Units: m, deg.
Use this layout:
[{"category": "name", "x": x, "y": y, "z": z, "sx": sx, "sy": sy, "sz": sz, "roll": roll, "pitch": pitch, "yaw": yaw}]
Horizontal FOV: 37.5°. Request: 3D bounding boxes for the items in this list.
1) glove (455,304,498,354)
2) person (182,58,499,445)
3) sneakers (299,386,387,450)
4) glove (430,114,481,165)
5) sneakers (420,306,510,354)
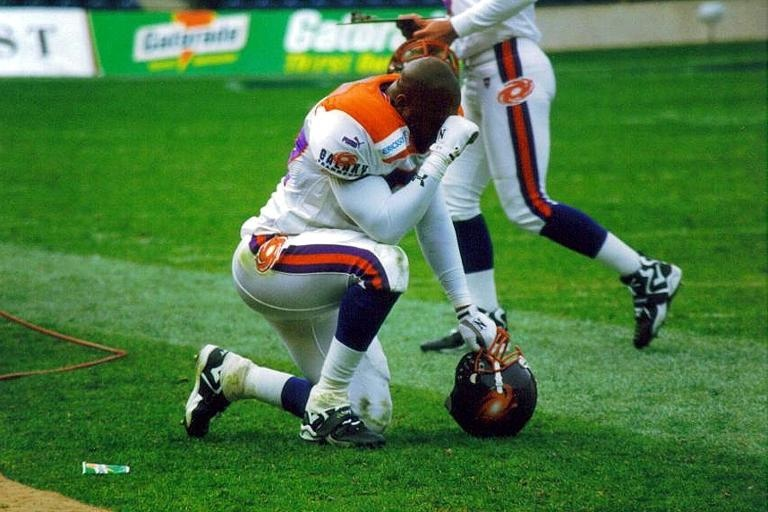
[{"category": "glove", "x": 0.377, "y": 0.308, "z": 4.743, "sx": 0.153, "sy": 0.193, "sz": 0.078, "roll": -39, "pitch": -9, "yaw": -10}, {"category": "person", "x": -0.144, "y": -0.029, "z": 4.614, "sx": 1.230, "sy": 1.554, "sz": 0.433, "roll": 3, "pitch": 10, "yaw": 4}, {"category": "sneakers", "x": -0.150, "y": 0.710, "z": 4.665, "sx": 0.406, "sy": 0.227, "sz": 0.149, "roll": 4, "pitch": -8, "yaw": 5}, {"category": "glove", "x": 0.292, "y": -0.459, "z": 4.592, "sx": 0.140, "sy": 0.222, "sz": 0.083, "roll": 38, "pitch": 1, "yaw": 9}, {"category": "sneakers", "x": 0.412, "y": 0.350, "z": 5.314, "sx": 0.555, "sy": 0.230, "sz": 0.172, "roll": -6, "pitch": -5, "yaw": 14}]
